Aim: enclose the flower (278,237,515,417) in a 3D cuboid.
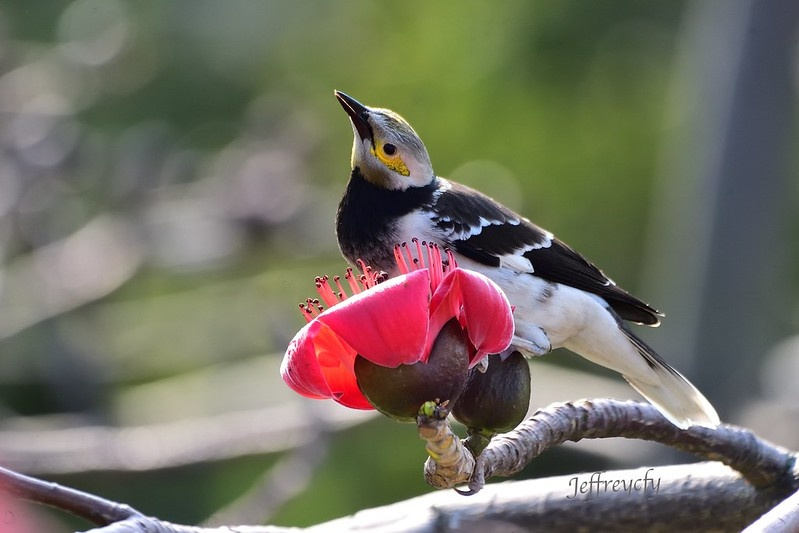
[{"bbox_3d":[-0.036,0.230,4.343,0.826,0.557,0.754,-29,14,-17],"label":"flower"}]
